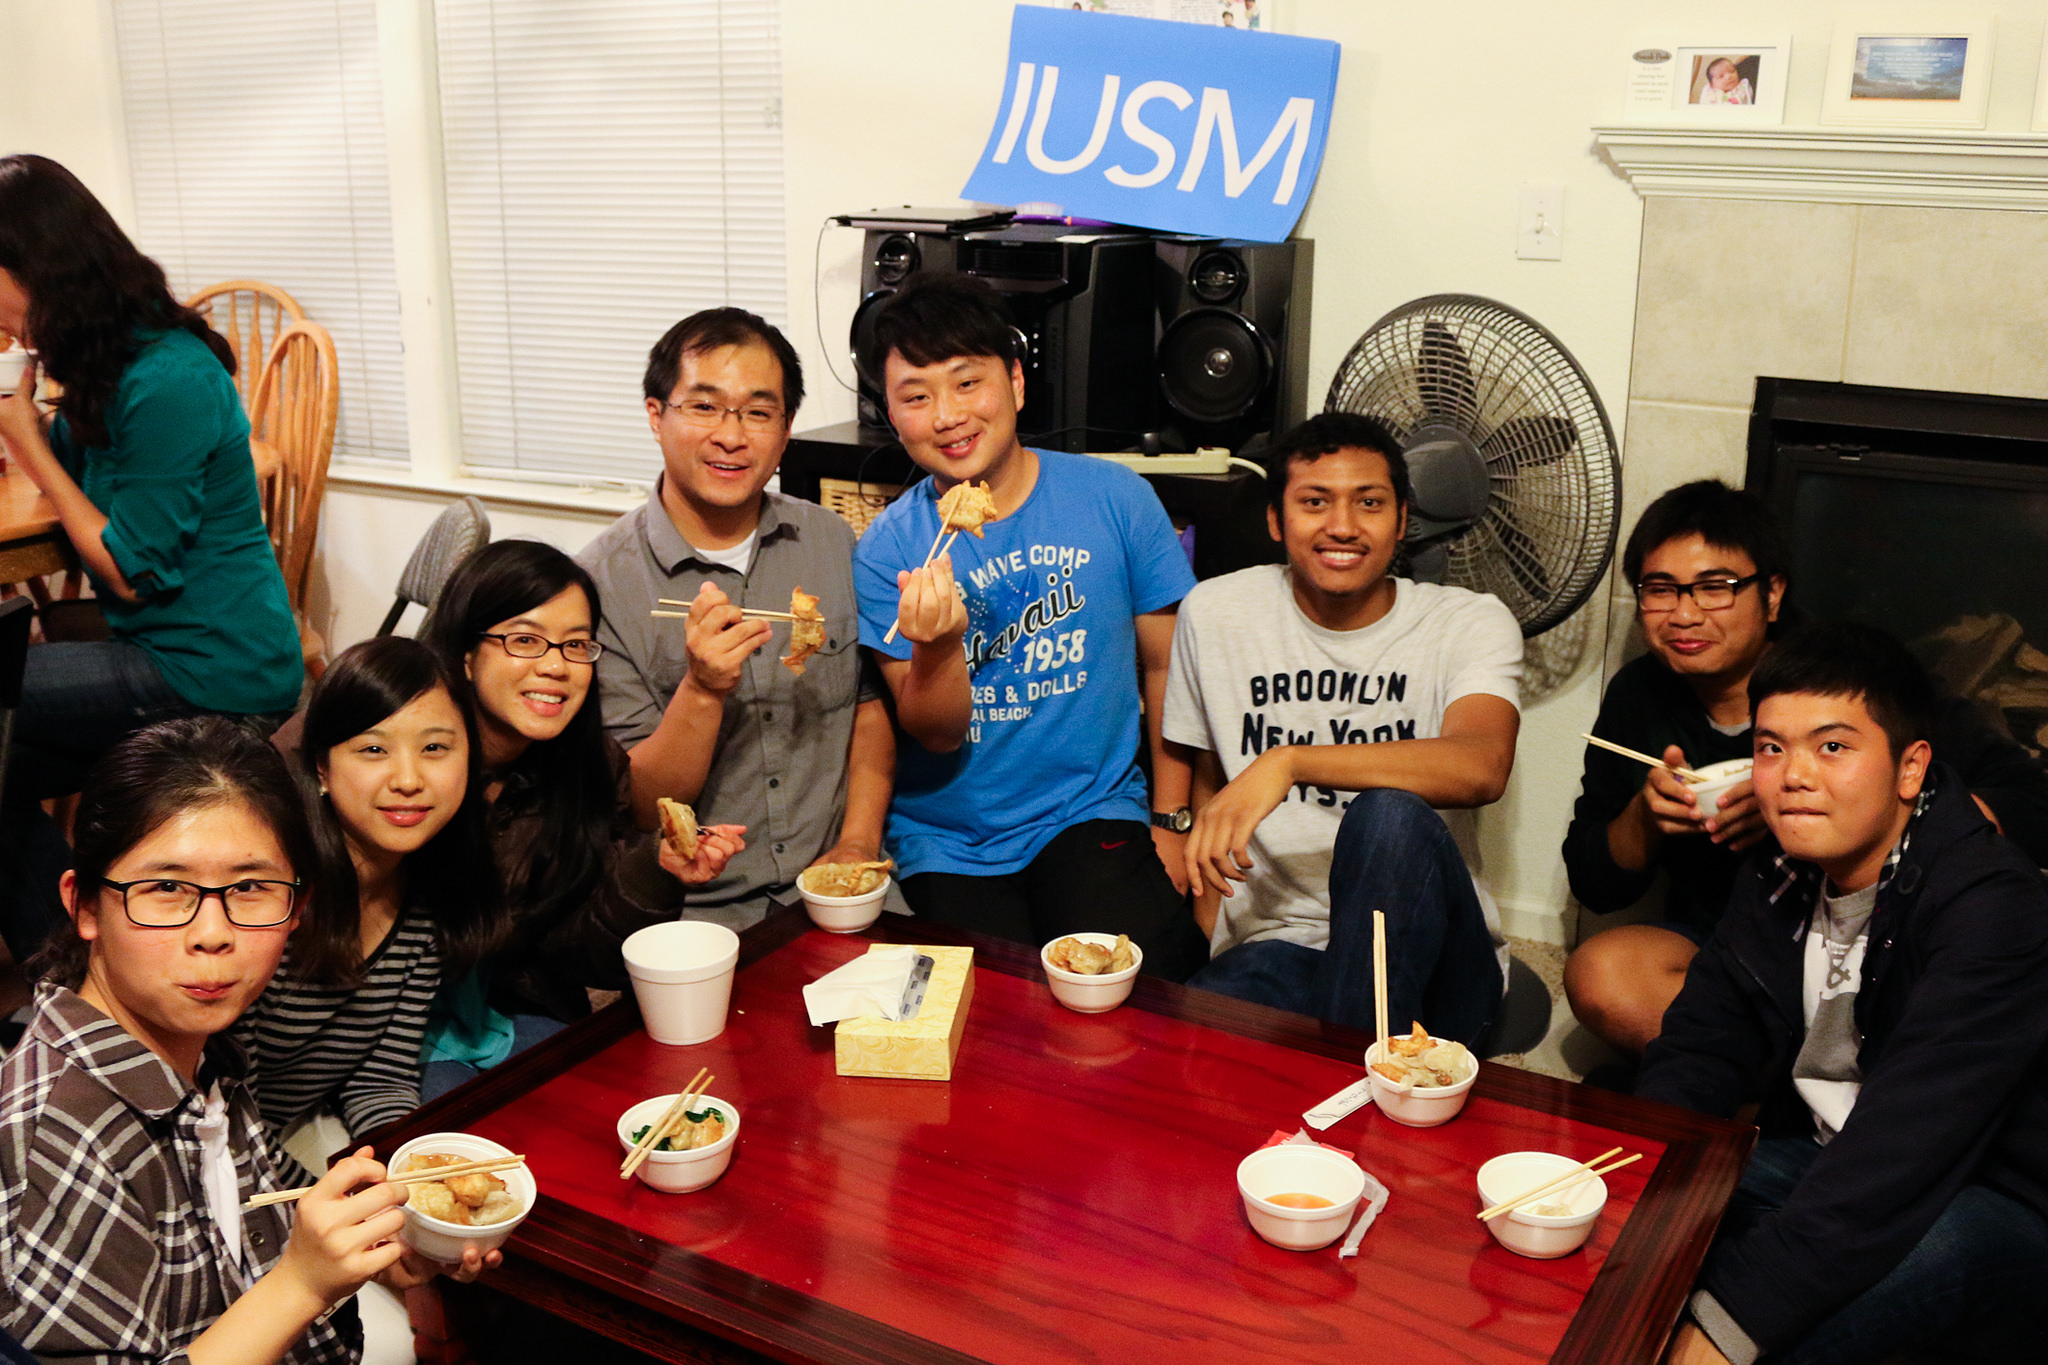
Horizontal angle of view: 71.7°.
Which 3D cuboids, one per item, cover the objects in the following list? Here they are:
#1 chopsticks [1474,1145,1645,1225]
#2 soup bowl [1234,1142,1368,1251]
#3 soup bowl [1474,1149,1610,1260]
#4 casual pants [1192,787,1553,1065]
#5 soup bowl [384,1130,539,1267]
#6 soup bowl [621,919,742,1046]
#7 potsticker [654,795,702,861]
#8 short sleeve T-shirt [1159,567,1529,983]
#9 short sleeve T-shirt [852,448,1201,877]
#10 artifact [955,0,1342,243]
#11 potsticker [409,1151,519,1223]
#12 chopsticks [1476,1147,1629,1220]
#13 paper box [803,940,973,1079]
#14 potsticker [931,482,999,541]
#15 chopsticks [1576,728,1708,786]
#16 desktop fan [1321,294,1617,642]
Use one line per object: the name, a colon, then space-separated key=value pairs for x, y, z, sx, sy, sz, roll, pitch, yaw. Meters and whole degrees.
chopsticks: x=0.680 y=0.642 z=1.809 sx=0.146 sy=0.012 sz=0.020 roll=-23 pitch=33 yaw=-19
soup bowl: x=0.343 y=0.652 z=1.800 sx=0.147 sy=0.077 sz=0.156 roll=1 pitch=17 yaw=0
soup bowl: x=0.647 y=0.651 z=1.792 sx=0.149 sy=0.091 sz=0.137 roll=1 pitch=17 yaw=0
casual pants: x=0.635 y=0.443 z=2.565 sx=0.340 sy=0.685 sz=0.395 roll=-11 pitch=-5 yaw=-42
soup bowl: x=-0.707 y=0.636 z=1.787 sx=0.154 sy=0.161 sz=0.221 roll=-9 pitch=19 yaw=-28
soup bowl: x=-0.523 y=0.422 z=2.162 sx=0.168 sy=0.128 sz=0.174 roll=0 pitch=15 yaw=0
potsticker: x=-0.562 y=0.233 z=2.375 sx=0.037 sy=0.098 sz=0.075 roll=-30 pitch=-1 yaw=-41
short sleeve T-shirt: x=0.576 y=0.171 z=2.688 sx=0.773 sy=0.770 sz=0.429 roll=1 pitch=11 yaw=19
short sleeve T-shirt: x=-0.006 y=-0.017 z=2.891 sx=0.745 sy=0.729 sz=0.451 roll=-7 pitch=13 yaw=-4
artifact: x=0.289 y=-1.386 z=3.495 sx=0.882 sy=0.570 sz=0.234 roll=10 pitch=19 yaw=27
potsticker: x=-0.694 y=0.605 z=1.771 sx=0.089 sy=0.037 sz=0.096 roll=10 pitch=6 yaw=-1
chopsticks: x=0.670 y=0.638 z=1.808 sx=0.138 sy=0.011 sz=0.020 roll=-23 pitch=35 yaw=-17
paper box: x=-0.202 y=0.464 z=2.054 sx=0.174 sy=0.057 sz=0.186 roll=-1 pitch=24 yaw=6
potsticker: x=-0.105 y=-0.328 z=2.732 sx=0.111 sy=0.110 sz=0.037 roll=12 pitch=1 yaw=15
chopsticks: x=1.227 y=0.143 z=2.806 sx=0.261 sy=0.029 sz=0.029 roll=24 pitch=-14 yaw=-19
desktop fan: x=0.969 y=-0.465 z=3.099 sx=0.603 sy=0.640 sz=0.313 roll=21 pitch=31 yaw=27
